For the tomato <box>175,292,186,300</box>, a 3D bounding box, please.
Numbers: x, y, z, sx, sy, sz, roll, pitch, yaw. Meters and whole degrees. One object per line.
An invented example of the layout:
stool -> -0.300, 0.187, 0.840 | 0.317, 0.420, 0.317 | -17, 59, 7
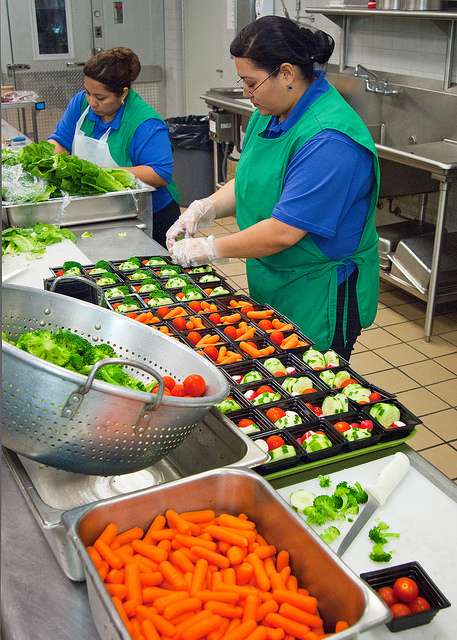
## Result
tomato -> -0.185, -0.091, 1.797 | 0.027, 0.026, 0.027 | -1, 9, -1

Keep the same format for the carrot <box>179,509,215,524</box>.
carrot -> -0.056, 0.363, 0.855 | 0.065, 0.021, 0.021 | 5, 62, -16

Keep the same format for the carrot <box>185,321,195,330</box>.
carrot -> -0.130, 0.018, 1.583 | 0.024, 0.027, 0.025 | -1, 15, 29

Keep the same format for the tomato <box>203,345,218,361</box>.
tomato -> -0.051, 0.100, 1.446 | 0.043, 0.050, 0.043 | -21, -20, 17

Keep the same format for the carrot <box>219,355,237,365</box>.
carrot -> 0.002, 0.119, 1.401 | 0.018, 0.018, 0.062 | 18, 34, 39

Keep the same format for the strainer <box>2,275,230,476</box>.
strainer -> -0.208, 0.151, 0.958 | 0.474, 0.219, 0.480 | 25, 6, -30

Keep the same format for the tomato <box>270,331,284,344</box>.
tomato -> 0.162, 0.056, 1.526 | 0.037, 0.045, 0.036 | -4, 57, 2

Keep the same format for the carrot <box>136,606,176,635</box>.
carrot -> -0.101, 0.428, 0.659 | 0.072, 0.017, 0.020 | 20, 45, 33

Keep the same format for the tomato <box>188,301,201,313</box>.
tomato -> -0.122, -0.051, 1.712 | 0.036, 0.041, 0.036 | 7, 42, 8

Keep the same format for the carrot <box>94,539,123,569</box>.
carrot -> -0.194, 0.378, 0.748 | 0.024, 0.017, 0.056 | -1, 27, -37

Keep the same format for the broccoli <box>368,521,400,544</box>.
broccoli -> 0.296, 0.407, 0.885 | 0.060, 0.019, 0.036 | -8, 21, -24

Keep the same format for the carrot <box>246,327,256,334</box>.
carrot -> 0.082, 0.035, 1.552 | 0.025, 0.011, 0.033 | 10, 21, 26

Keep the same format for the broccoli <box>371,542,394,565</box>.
broccoli -> 0.281, 0.422, 0.846 | 0.037, 0.022, 0.049 | 7, 20, 19

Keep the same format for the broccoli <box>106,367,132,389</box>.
broccoli -> -0.222, 0.122, 0.983 | 0.051, 0.023, 0.041 | 34, -3, -39

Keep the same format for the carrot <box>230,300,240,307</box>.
carrot -> 0.026, -0.065, 1.757 | 0.025, 0.021, 0.024 | 4, 31, -26

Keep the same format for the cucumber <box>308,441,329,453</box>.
cucumber -> 0.210, 0.284, 1.050 | 0.028, 0.020, 0.028 | -6, 15, 11

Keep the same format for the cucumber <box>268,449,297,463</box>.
cucumber -> 0.121, 0.297, 1.017 | 0.065, 0.062, 0.021 | -15, 63, -10

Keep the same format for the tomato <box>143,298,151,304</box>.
tomato -> -0.310, -0.074, 1.749 | 0.019, 0.013, 0.018 | 2, 24, -1

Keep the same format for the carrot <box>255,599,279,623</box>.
carrot -> 0.057, 0.438, 0.700 | 0.042, 0.021, 0.014 | -34, 1, -5

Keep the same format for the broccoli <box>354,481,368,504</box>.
broccoli -> 0.275, 0.360, 0.960 | 0.024, 0.040, 0.026 | -15, 48, 21

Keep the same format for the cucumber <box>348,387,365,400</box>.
cucumber -> 0.345, 0.192, 1.252 | 0.042, 0.037, 0.023 | -2, 19, -41

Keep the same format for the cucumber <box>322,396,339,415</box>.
cucumber -> 0.267, 0.224, 1.204 | 0.042, 0.036, 0.037 | 4, 20, 11

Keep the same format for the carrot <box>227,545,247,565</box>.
carrot -> 0.015, 0.407, 0.803 | 0.022, 0.017, 0.029 | 5, 33, 10

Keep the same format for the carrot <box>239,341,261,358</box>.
carrot -> 0.068, 0.090, 1.447 | 0.026, 0.025, 0.078 | -12, 28, -28

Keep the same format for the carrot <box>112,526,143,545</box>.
carrot -> -0.176, 0.374, 0.816 | 0.049, 0.015, 0.016 | -12, 47, -42

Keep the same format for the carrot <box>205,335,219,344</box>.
carrot -> -0.050, 0.065, 1.499 | 0.038, 0.018, 0.013 | -35, -8, -27

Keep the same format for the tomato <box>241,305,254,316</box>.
tomato -> 0.068, -0.035, 1.699 | 0.034, 0.033, 0.034 | 5, 28, 14

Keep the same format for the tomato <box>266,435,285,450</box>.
tomato -> 0.112, 0.278, 1.061 | 0.027, 0.030, 0.026 | -1, 24, -7

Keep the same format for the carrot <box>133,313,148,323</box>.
carrot -> -0.297, -0.005, 1.593 | 0.033, 0.011, 0.034 | -41, -1, 43

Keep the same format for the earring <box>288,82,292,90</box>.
earring -> 0.222, -0.838, 1.663 | 0.010, 0.013, 0.033 | 6, 20, 16

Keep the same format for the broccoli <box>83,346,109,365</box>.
broccoli -> -0.293, 0.079, 1.011 | 0.041, 0.018, 0.048 | 5, 29, 3

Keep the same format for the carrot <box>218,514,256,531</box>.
carrot -> 0.015, 0.370, 0.844 | 0.078, 0.023, 0.025 | 9, 10, 6

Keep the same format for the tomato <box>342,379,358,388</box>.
tomato -> 0.345, 0.171, 1.301 | 0.026, 0.025, 0.026 | -19, 34, -5

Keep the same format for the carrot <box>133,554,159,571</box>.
carrot -> -0.137, 0.407, 0.780 | 0.017, 0.015, 0.056 | -7, 11, -38

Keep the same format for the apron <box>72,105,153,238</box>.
apron -> -0.656, -0.850, 2.930 | 0.536, 0.905, 0.502 | -8, 26, -20

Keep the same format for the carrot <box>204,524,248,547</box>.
carrot -> -0.002, 0.386, 0.827 | 0.069, 0.018, 0.019 | 18, -7, 24

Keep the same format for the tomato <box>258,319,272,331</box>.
tomato -> 0.129, 0.017, 1.617 | 0.031, 0.031, 0.031 | -37, 17, 38

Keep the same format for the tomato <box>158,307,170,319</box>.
tomato -> -0.232, -0.025, 1.664 | 0.037, 0.034, 0.035 | -6, -6, -27

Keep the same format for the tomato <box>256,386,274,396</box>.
tomato -> 0.098, 0.190, 1.261 | 0.024, 0.027, 0.024 | -37, 55, -27

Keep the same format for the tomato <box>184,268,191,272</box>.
tomato -> -0.178, -0.220, 2.038 | 0.024, 0.013, 0.024 | 2, 4, 8

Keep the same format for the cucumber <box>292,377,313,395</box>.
cucumber -> 0.206, 0.181, 1.289 | 0.047, 0.043, 0.011 | 7, 5, -27

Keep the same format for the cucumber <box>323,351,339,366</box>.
cucumber -> 0.316, 0.115, 1.420 | 0.032, 0.024, 0.038 | -15, 56, 16

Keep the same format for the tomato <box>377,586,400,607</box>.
tomato -> 0.264, 0.453, 0.760 | 0.027, 0.031, 0.026 | -3, 7, -8

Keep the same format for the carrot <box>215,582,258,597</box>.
carrot -> 0.011, 0.425, 0.729 | 0.054, 0.014, 0.015 | 4, 20, 19

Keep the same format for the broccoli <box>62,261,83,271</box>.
broccoli -> -0.642, -0.227, 1.915 | 0.073, 0.033, 0.054 | -7, 20, -21

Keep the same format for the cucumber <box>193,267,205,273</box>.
cucumber -> -0.128, -0.218, 2.039 | 0.028, 0.008, 0.025 | -12, 34, -14

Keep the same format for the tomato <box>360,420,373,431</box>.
tomato -> 0.343, 0.260, 1.143 | 0.023, 0.022, 0.021 | -5, 3, 14

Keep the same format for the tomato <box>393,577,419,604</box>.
tomato -> 0.292, 0.446, 0.761 | 0.036, 0.034, 0.030 | 1, 19, 2

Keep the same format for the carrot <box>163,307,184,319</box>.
carrot -> -0.196, -0.027, 1.646 | 0.023, 0.020, 0.078 | 21, 38, 33
